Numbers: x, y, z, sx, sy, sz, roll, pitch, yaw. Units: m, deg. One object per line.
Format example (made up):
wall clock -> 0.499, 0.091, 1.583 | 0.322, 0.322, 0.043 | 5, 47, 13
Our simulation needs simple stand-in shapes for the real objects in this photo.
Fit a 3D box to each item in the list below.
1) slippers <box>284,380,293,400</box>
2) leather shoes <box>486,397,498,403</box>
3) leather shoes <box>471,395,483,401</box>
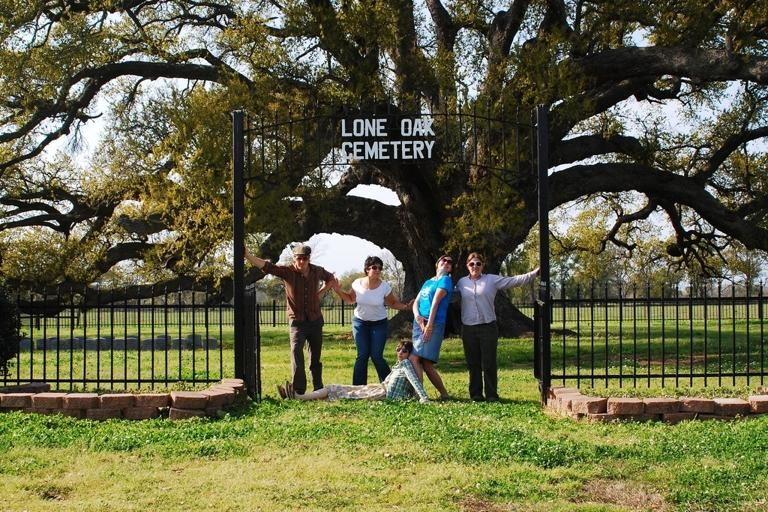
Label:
slippers -> -2.013, 2.873, 19.523 | 0.170, 0.398, 0.120 | 5, -10, -43
leather shoes -> 2.302, 3.082, 19.688 | 0.271, 0.100, 0.192 | -2, -8, -2
leather shoes -> 1.990, 3.070, 19.678 | 0.271, 0.113, 0.253 | -2, -8, 2
